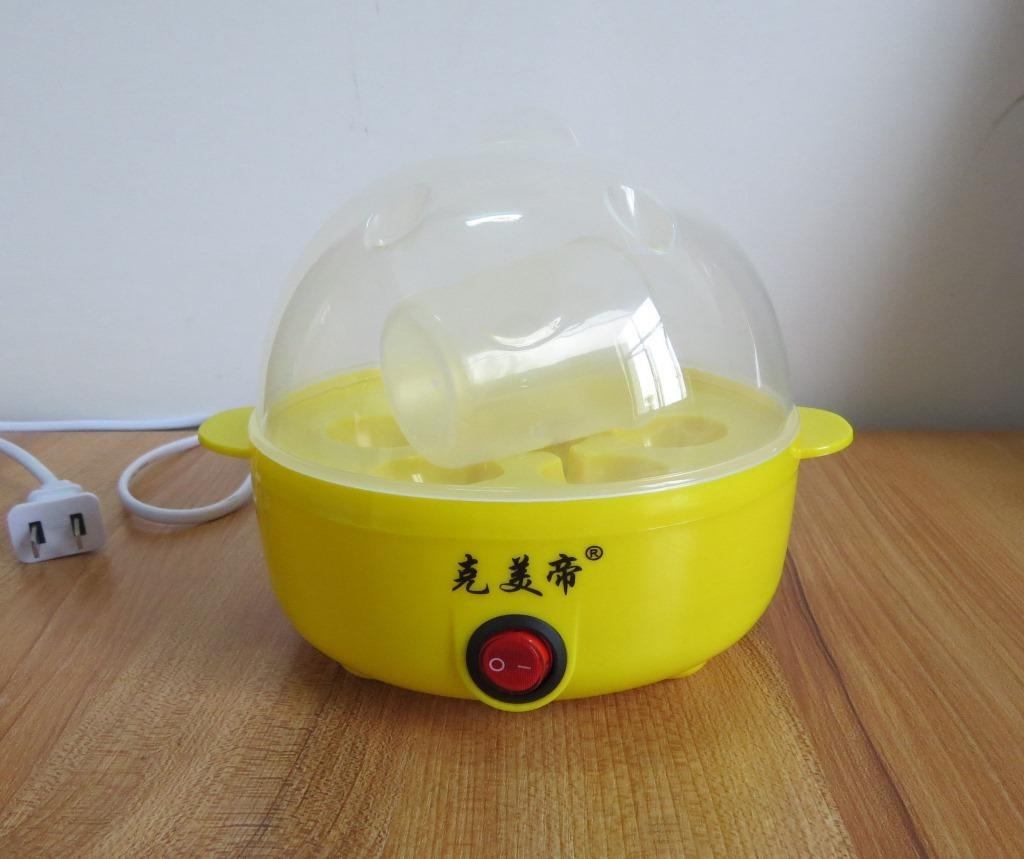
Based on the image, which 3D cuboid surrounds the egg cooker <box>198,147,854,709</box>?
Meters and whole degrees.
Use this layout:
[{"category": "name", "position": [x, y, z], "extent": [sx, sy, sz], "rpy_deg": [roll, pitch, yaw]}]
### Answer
[{"category": "egg cooker", "position": [0.015, -0.018, 0.610], "extent": [0.484, 0.251, 0.313], "rpy_deg": [-8, 39, -13]}]
